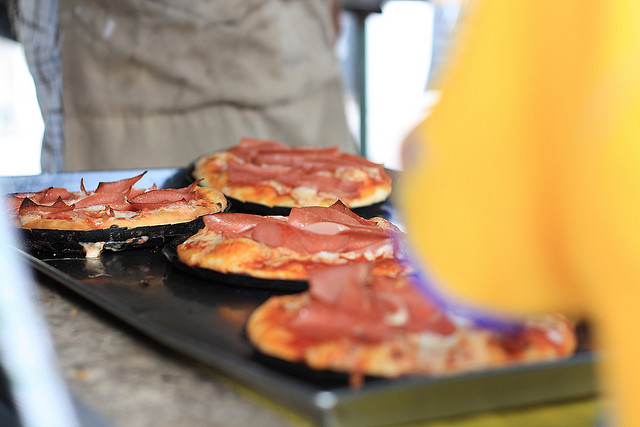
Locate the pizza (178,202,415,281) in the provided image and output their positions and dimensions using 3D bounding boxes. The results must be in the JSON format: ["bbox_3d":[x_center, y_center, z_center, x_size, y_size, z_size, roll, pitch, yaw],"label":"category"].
[{"bbox_3d":[-0.028,0.038,1.219,0.399,0.070,0.364,-7,17,-34],"label":"pizza"}]

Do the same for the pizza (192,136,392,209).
[{"bbox_3d":[-0.090,-0.129,1.839,0.535,0.077,0.483,9,21,20],"label":"pizza"}]

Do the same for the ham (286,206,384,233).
[{"bbox_3d":[0.025,0.010,1.161,0.174,0.039,0.058,13,-11,-8],"label":"ham"}]
